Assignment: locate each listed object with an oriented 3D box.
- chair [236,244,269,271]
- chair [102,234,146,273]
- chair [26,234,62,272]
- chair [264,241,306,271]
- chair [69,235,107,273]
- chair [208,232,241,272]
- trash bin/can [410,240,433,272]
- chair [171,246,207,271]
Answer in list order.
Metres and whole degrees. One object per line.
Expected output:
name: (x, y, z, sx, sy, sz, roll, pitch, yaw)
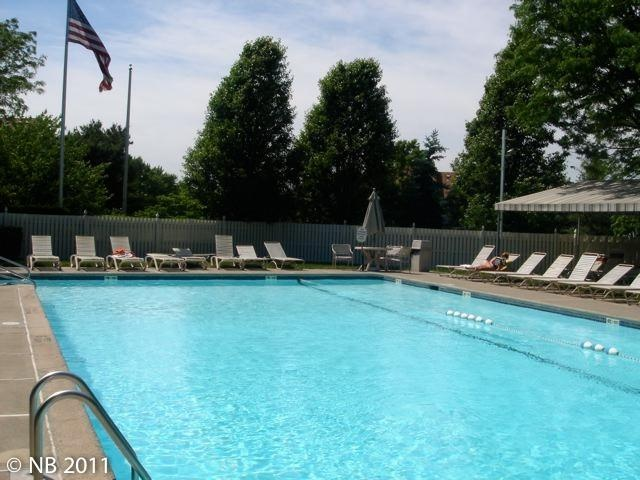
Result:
chair: (-2.806, 0.632, 22.967, 0.751, 0.803, 1.381, 0, -1, -19)
chair: (-7.101, 0.350, 20.906, 0.738, 0.906, 1.492, -2, 16, -35)
chair: (-9.438, 0.358, 19.763, 0.940, 0.979, 2.272, 1, 5, -27)
chair: (-1.617, 0.595, 23.597, 0.901, 0.941, 1.772, 0, 5, -32)
chair: (-8.357, 0.442, 20.662, 0.987, 1.037, 1.610, -4, -14, -14)
chair: (-3.745, 0.402, 22.782, 1.054, 1.200, 2.049, 2, 5, -11)
trash bin/can: (4.144, 0.604, 23.965, 0.754, 1.298, 0.825, 1, 2, -7)
chair: (-4.871, 0.648, 21.789, 0.700, 0.714, 1.354, 1, -3, -25)
